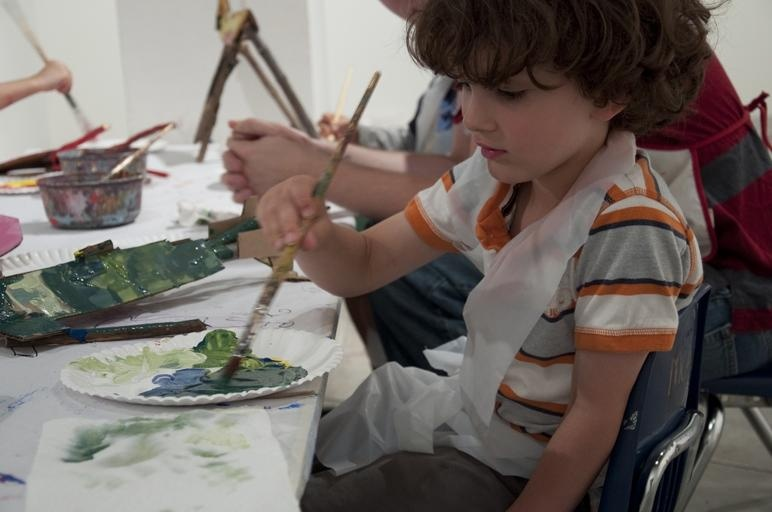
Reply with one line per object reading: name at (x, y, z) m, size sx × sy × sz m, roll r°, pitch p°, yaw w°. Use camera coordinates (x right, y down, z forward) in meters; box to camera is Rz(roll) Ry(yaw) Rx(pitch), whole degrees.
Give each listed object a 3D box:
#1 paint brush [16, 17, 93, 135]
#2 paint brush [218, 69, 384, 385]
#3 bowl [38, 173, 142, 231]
paint brush at (-0.805, -0.449, 1.592) m, size 0.050 × 0.042 × 0.392 m, roll -31°, pitch 75°, yaw -16°
paint brush at (-0.051, -0.174, 1.069) m, size 0.094 × 0.047 × 0.898 m, roll 24°, pitch 48°, yaw -3°
bowl at (-0.606, -0.116, 1.358) m, size 0.218 × 0.103 × 0.217 m, roll 1°, pitch 12°, yaw 0°
